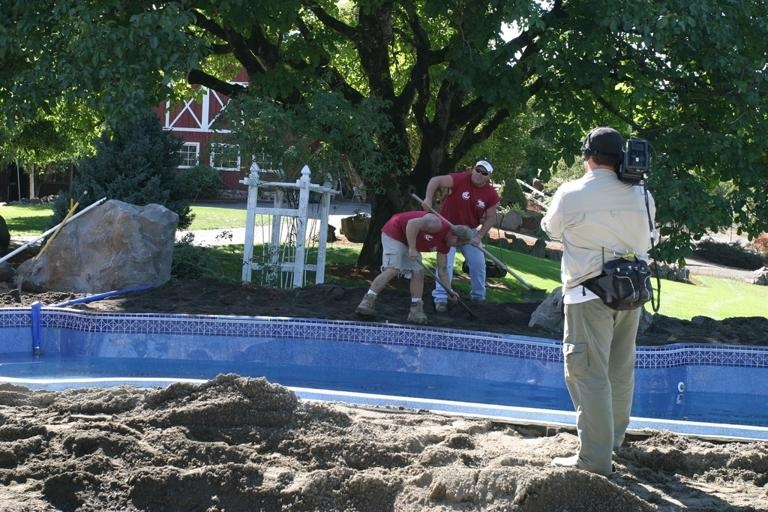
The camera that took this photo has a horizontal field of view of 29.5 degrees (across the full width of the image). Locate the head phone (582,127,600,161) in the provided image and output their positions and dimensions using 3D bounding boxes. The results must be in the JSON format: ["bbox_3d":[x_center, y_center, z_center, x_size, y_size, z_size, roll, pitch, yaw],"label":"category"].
[{"bbox_3d":[3.141,-1.704,22.165,0.200,0.443,0.327,6,19,26],"label":"head phone"}]

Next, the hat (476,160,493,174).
[{"bbox_3d":[1.842,-1.638,26.561,0.321,0.249,0.263,3,0,-9],"label":"hat"}]

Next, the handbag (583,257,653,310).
[{"bbox_3d":[3.623,0.349,22.259,0.955,0.858,1.112,-7,8,-30],"label":"handbag"}]
